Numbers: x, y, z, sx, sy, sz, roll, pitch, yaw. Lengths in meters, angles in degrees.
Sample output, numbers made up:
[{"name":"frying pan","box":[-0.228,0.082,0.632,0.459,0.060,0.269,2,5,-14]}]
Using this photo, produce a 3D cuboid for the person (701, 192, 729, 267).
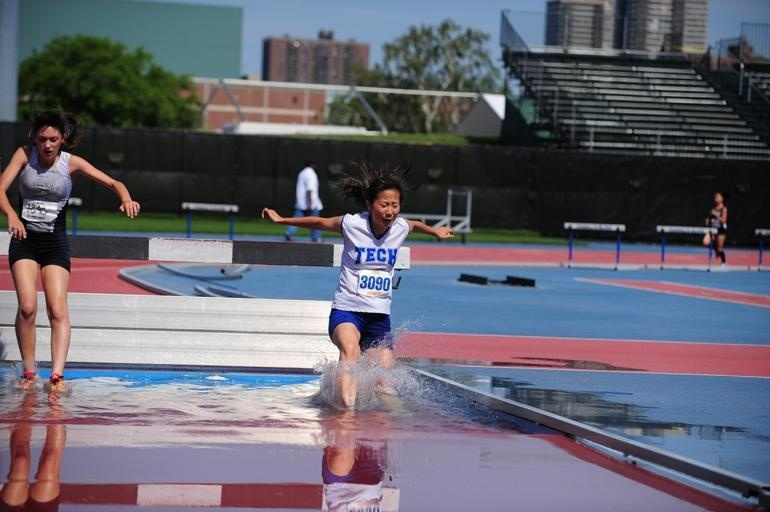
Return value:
[{"name":"person","box":[9.394,-0.802,42.741,0.859,2.605,0.820,5,-4,-12]}]

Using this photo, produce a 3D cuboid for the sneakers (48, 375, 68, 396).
[{"name":"sneakers","box":[-6.416,2.530,29.951,0.288,0.414,0.155,-8,3,-5]}]

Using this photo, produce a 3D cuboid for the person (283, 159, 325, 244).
[{"name":"person","box":[-2.097,-1.552,42.535,1.076,2.278,1.030,8,-7,-44]}]
